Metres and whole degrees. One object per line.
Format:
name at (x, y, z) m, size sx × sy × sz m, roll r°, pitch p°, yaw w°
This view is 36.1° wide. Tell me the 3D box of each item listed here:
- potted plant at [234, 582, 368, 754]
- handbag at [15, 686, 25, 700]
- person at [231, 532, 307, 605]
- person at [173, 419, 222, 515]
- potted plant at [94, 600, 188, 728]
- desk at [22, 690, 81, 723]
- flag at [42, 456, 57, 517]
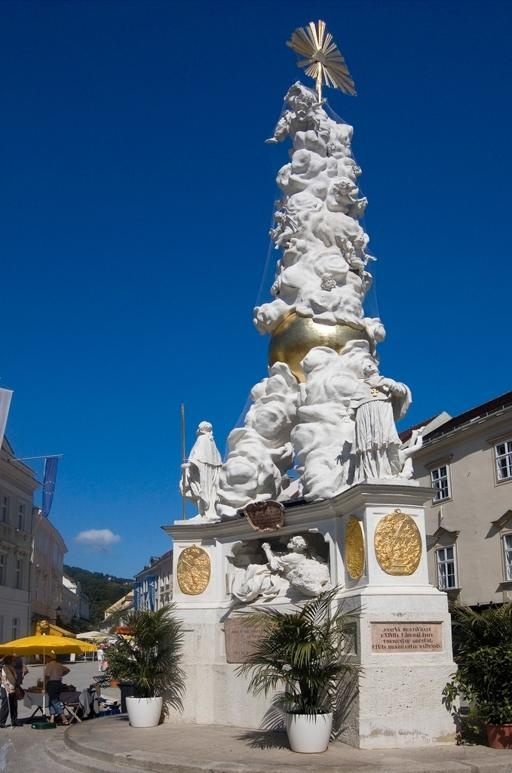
potted plant at (0.729, 3.630, 10.237) m, size 1.404 × 1.916 × 2.561 m, roll -4°, pitch -15°, yaw 6°
handbag at (-4.308, 5.602, 14.332) m, size 0.180 × 0.216 × 0.225 m, roll 6°, pitch -45°, yaw -11°
person at (0.239, 3.016, 12.948) m, size 0.992 × 1.066 × 0.592 m, roll -12°, pitch -37°, yaw 21°
person at (-1.058, 1.637, 15.240) m, size 0.775 × 1.928 × 0.709 m, roll -1°, pitch -15°, yaw -5°
potted plant at (-1.728, 4.585, 12.946) m, size 0.889 × 1.847 × 1.212 m, roll -9°, pitch -17°, yaw 23°
desk at (-3.998, 6.238, 15.375) m, size 1.001 × 0.690 × 3.164 m, roll 1°, pitch -16°, yaw -14°
flag at (-9.548, 4.566, 36.223) m, size 0.528 × 2.625 × 5.149 m, roll 2°, pitch -16°, yaw -15°
